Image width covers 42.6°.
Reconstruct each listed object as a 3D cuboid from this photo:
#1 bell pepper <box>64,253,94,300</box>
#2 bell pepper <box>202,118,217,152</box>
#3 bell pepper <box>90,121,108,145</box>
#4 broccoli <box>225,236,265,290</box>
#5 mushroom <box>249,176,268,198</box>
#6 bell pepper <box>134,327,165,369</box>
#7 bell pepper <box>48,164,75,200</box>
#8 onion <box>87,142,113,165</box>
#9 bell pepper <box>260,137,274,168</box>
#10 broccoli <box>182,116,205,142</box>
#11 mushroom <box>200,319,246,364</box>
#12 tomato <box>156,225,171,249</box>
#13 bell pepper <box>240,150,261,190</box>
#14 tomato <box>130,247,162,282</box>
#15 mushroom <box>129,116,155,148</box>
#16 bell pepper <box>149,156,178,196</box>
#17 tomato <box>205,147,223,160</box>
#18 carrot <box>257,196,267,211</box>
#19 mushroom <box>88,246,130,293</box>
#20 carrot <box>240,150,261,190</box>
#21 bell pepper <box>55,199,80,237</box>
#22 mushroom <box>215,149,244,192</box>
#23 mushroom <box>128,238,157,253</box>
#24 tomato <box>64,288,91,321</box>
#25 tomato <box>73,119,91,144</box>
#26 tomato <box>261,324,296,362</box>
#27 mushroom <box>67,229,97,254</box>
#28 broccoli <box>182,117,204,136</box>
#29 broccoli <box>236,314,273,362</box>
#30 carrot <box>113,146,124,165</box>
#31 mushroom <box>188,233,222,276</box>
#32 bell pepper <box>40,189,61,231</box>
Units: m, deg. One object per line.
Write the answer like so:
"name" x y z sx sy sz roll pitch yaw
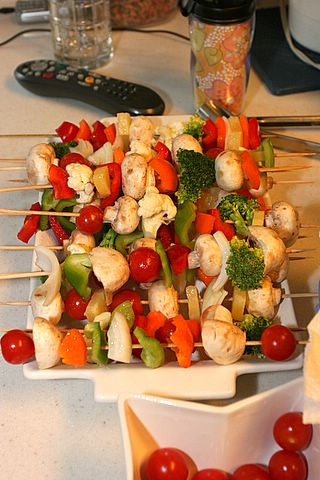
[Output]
"bell pepper" -0.201 0.082 0.986 0.088 0.047 0.124 24 32 -32
"bell pepper" 0.145 -0.304 1.194 0.031 0.078 0.075 2 82 -23
"bell pepper" -0.196 -0.336 1.296 0.054 0.043 0.115 -4 37 -7
"broccoli" 0.194 0.054 0.928 0.089 0.056 0.104 -4 64 1
"mushroom" 0.268 -0.134 1.089 0.045 0.038 0.050 -10 54 46
"bell pepper" -0.019 0.229 0.851 0.025 0.051 0.090 -27 84 -46
"bell pepper" -0.260 -0.143 1.076 0.055 0.091 0.065 -16 41 -20
"onion" -0.171 -0.239 1.157 0.074 0.051 0.081 -4 38 -6
"bell pepper" 0.303 -0.243 1.149 0.043 0.068 0.115 7 38 8
"broccoli" 0.104 -0.336 1.230 0.074 0.043 0.076 -4 56 -3
"mushroom" 0.132 0.209 0.852 0.094 0.091 0.050 8 42 16
"tomato" 0.012 -0.006 1.077 0.032 0.043 0.055 4 72 -49
"bell pepper" 0.233 -0.174 1.055 0.027 0.092 0.074 -18 3 16
"tomato" -0.035 0.059 1.027 0.082 0.077 0.075 12 19 -17
"mushroom" -0.065 -0.321 1.263 0.085 0.111 0.040 -8 68 0
"bell pepper" 0.006 -0.183 1.112 0.044 0.102 0.108 25 11 -8
"tomato" 0.151 -0.237 1.130 0.044 0.028 0.051 -12 28 -4
"carrot" 0.273 -0.094 1.096 0.010 0.037 0.032 -20 70 29
"mushroom" -0.129 0.052 0.969 0.124 0.032 0.133 11 46 -27
"carrot" 0.220 -0.180 1.054 0.023 0.068 0.086 -19 74 17
"bell pepper" -0.252 -0.060 1.132 0.064 0.081 0.029 -1 18 19
"mushroom" 0.176 -0.164 1.052 0.071 0.109 0.083 0 38 -1
"mushroom" -0.054 0.013 1.045 0.050 0.026 0.037 -1 17 2
"tomato" -0.207 0.159 1.028 0.069 0.077 0.068 -1 2 42
"tomato" -0.244 -0.325 1.265 0.052 0.051 0.115 -3 37 -5
"tomato" 0.253 0.217 0.876 0.072 0.081 0.073 1 10 2
"mushroom" -0.198 0.007 1.033 0.056 0.027 0.067 2 61 6
"broccoli" 0.100 -0.335 1.229 0.066 0.041 0.062 -2 68 -1
"broccoli" 0.229 0.224 0.959 0.083 0.041 0.089 -3 77 2
"carrot" -0.116 -0.231 1.135 0.013 0.042 0.041 -4 71 -35
"mushroom" 0.108 0.048 0.994 0.064 0.107 0.083 -12 40 -15
"bell pepper" -0.293 -0.084 1.124 0.054 0.111 0.028 18 17 16
